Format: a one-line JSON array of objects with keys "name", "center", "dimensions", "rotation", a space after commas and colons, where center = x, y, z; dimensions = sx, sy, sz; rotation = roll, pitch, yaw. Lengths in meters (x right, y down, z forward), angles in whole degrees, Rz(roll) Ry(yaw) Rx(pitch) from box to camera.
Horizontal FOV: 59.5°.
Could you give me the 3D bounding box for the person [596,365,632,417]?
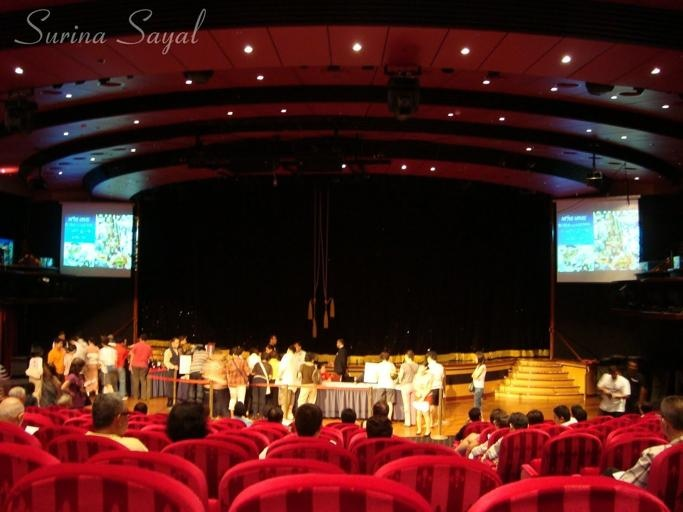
[{"name": "person", "center": [5.064, 2.699, 11.285], "dimensions": [0.523, 1.367, 0.443], "rotation": [7, 28, 30]}]
